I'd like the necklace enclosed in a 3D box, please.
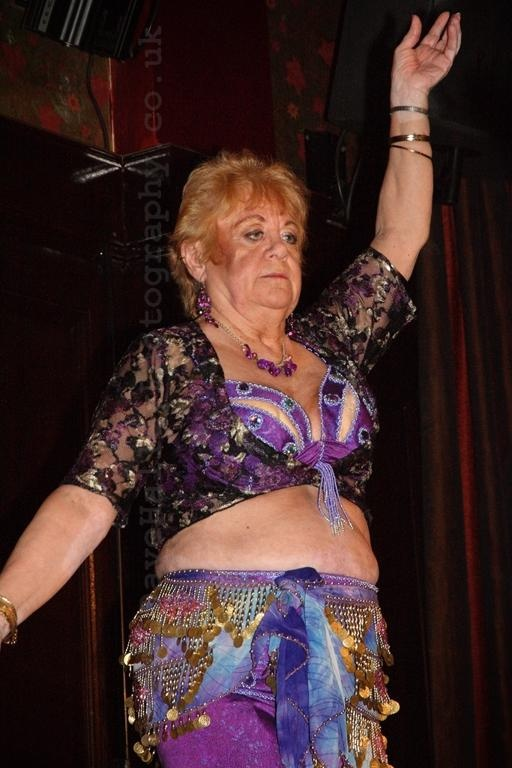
[{"bbox_3d":[-0.023,-0.064,1.215,0.154,0.084,0.033,36,105,1],"label":"necklace"}]

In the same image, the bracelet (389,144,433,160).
[{"bbox_3d":[0.301,-0.453,1.427,0.049,0.043,0.011,16,87,-1],"label":"bracelet"}]
